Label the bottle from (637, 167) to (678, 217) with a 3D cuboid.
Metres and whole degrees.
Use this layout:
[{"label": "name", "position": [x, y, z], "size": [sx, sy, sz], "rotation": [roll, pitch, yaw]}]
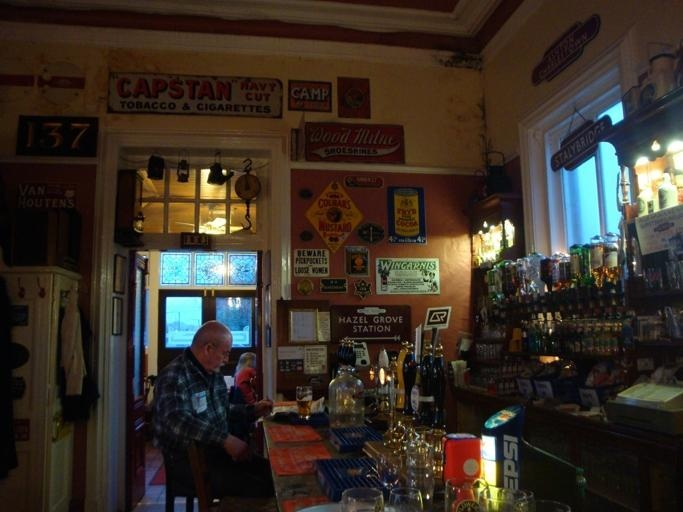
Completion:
[{"label": "bottle", "position": [2.079, -0.427, 3.962], "size": [0.167, 0.321, 0.291], "rotation": [2, -4, -24]}]
